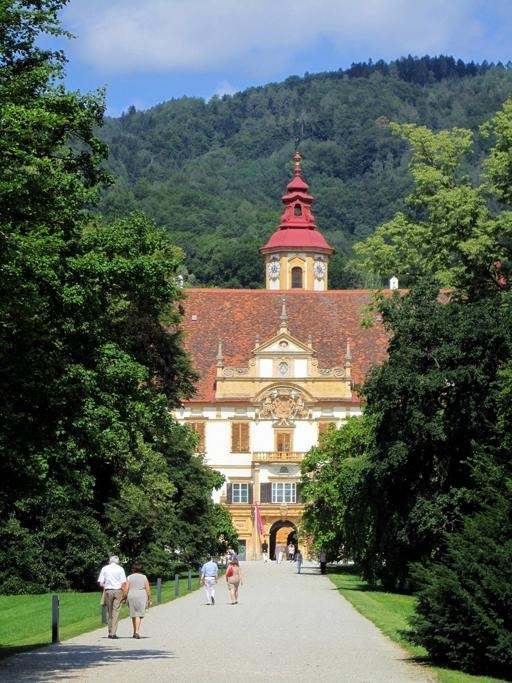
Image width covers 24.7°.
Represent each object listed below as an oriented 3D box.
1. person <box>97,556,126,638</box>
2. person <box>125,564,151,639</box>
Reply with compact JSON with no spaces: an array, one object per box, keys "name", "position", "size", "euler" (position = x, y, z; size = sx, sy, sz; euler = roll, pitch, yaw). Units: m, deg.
[{"name":"person","position":[-2.487,4.423,20.309],"size":[0.465,1.356,1.589],"euler":[0,-8,-8]},{"name":"person","position":[-2.074,4.515,20.461],"size":[0.400,1.228,1.773],"euler":[0,-9,-6]}]
